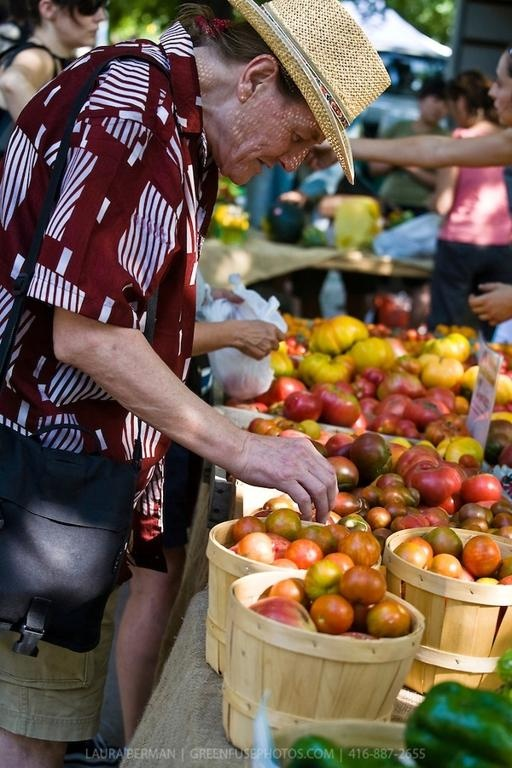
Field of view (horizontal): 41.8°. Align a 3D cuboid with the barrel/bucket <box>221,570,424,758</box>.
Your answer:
[{"bbox_3d":[0.075,0.411,1.066,0.277,0.225,0.286,12,-1,0],"label":"barrel/bucket"}]
